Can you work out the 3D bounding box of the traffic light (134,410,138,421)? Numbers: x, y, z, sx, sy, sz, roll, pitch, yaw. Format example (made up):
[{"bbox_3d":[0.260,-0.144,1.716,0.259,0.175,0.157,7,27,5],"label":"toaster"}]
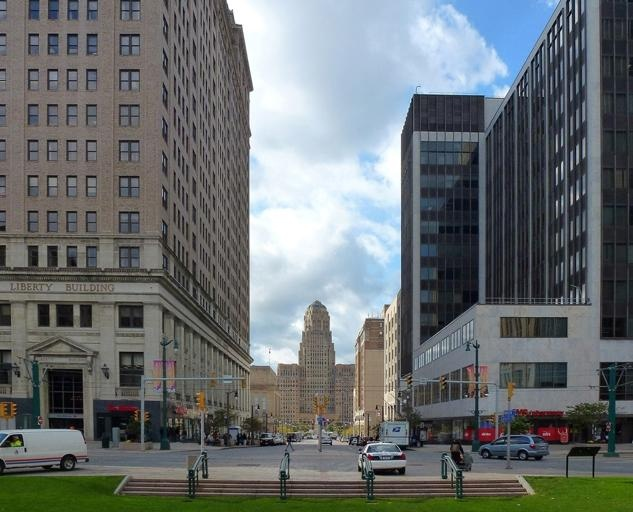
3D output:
[{"bbox_3d":[-19.899,17.520,122.559,0.335,1.207,2.068,1,-14,-9],"label":"traffic light"}]

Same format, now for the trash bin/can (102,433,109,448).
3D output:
[{"bbox_3d":[-22.531,19.624,118.146,1.063,2.046,1.242,0,-5,-16],"label":"trash bin/can"}]

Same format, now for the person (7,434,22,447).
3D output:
[{"bbox_3d":[-24.636,15.063,90.584,0.938,1.017,0.688,7,-11,-27],"label":"person"}]
